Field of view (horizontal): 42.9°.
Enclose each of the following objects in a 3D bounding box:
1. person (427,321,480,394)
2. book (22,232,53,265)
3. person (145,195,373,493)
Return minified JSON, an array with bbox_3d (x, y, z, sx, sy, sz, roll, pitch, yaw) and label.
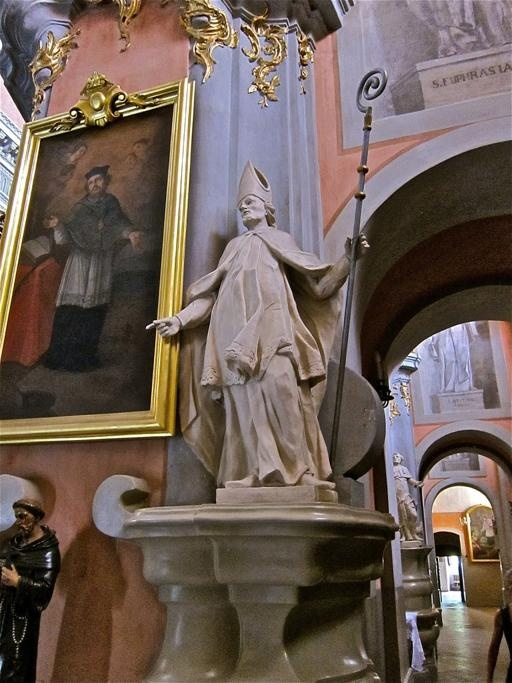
[{"bbox_3d":[4.259,0.403,13.941,0.985,2.226,0.595,-18,-67,25],"label":"person"},{"bbox_3d":[-1.136,-0.491,3.482,0.154,0.169,0.039,-32,-28,7],"label":"book"},{"bbox_3d":[0.044,-0.061,2.525,0.807,1.316,0.395,-10,-27,18],"label":"person"}]
